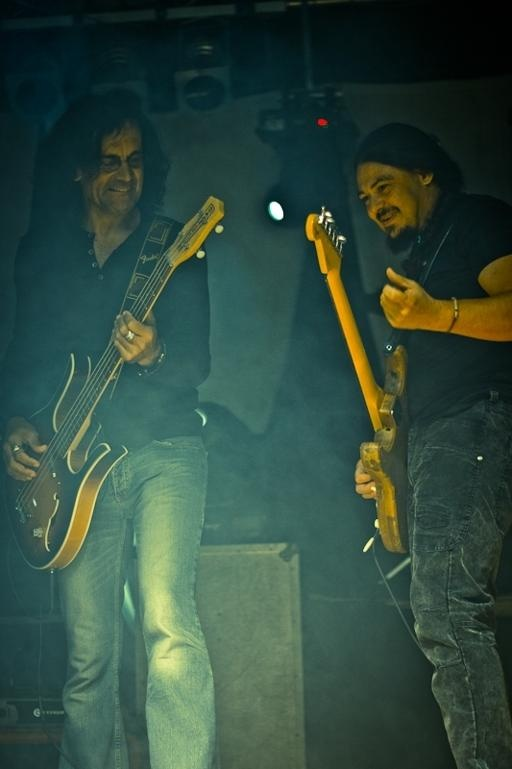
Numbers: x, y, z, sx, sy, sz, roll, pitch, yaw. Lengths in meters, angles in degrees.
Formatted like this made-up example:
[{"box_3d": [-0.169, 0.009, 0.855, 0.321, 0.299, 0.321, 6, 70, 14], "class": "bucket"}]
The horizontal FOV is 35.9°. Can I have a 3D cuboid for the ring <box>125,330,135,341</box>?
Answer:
[{"box_3d": [-0.371, -0.144, 2.292, 0.022, 0.028, 0.009, 0, 8, 4], "class": "ring"}]

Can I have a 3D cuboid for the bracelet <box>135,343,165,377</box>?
[{"box_3d": [-0.321, -0.067, 2.382, 0.082, 0.103, 0.050, 0, 30, -9], "class": "bracelet"}]

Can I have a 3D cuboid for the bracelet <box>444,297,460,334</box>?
[{"box_3d": [0.541, -0.191, 2.147, 0.022, 0.067, 0.067, 5, 1, 4], "class": "bracelet"}]
